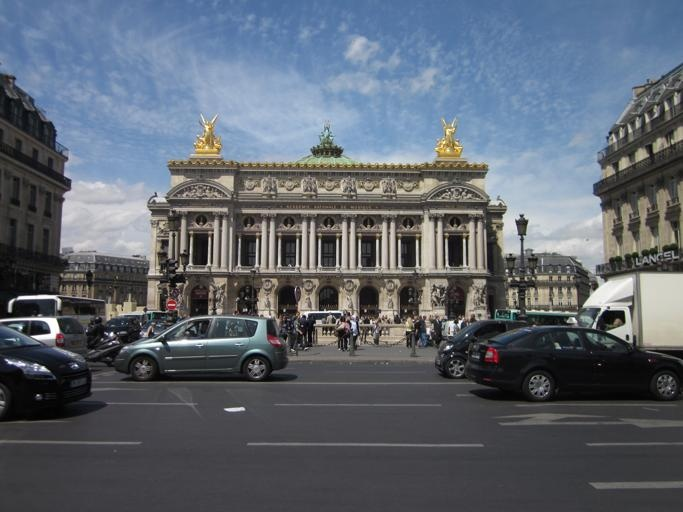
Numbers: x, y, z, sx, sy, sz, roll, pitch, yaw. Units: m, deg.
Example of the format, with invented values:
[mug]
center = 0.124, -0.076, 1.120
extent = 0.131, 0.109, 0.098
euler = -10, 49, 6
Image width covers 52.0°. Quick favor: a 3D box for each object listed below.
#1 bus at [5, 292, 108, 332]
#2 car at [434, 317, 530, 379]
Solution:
[bus]
center = -13.464, 2.628, 32.879
extent = 1.669, 1.720, 6.444
euler = -4, -10, 16
[car]
center = 4.492, 2.971, 22.657
extent = 2.832, 1.391, 1.632
euler = 1, -8, -1
